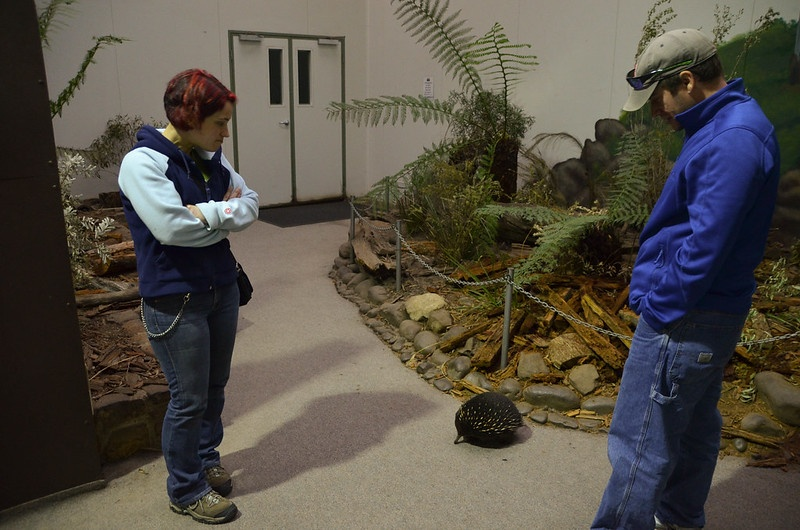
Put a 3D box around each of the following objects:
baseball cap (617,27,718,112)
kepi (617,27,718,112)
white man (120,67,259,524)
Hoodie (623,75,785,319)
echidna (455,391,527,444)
[{"bbox_3d":[1.434,-1.024,2.715,0.527,0.282,0.371,-23,-8,36],"label":"baseball cap"},{"bbox_3d":[1.399,-1.057,2.723,0.526,0.278,0.366,-26,9,28],"label":"kepi"},{"bbox_3d":[-1.097,0.298,3.196,0.708,2.779,0.994,-3,20,-18],"label":"white man"},{"bbox_3d":[1.548,-0.292,2.700,0.585,1.266,0.690,14,20,29],"label":"Hoodie"},{"bbox_3d":[0.683,1.168,3.854,0.500,0.344,0.288,2,14,8],"label":"echidna"}]
